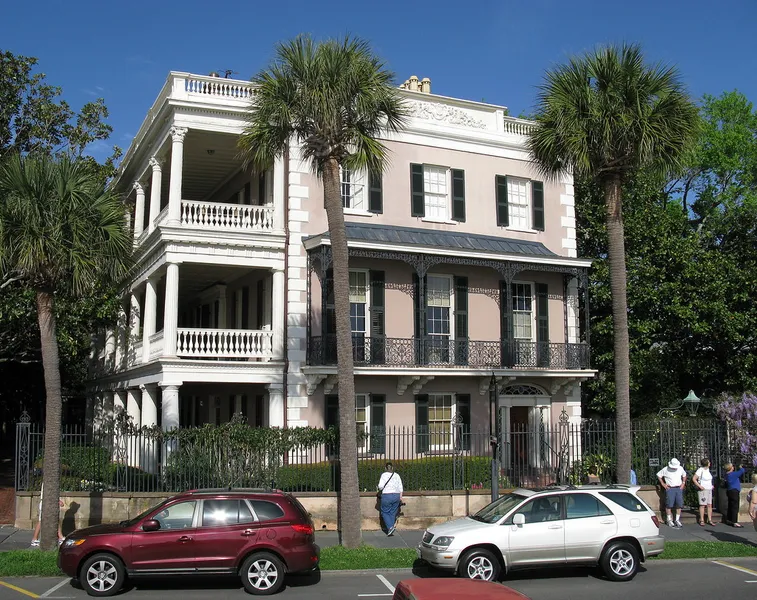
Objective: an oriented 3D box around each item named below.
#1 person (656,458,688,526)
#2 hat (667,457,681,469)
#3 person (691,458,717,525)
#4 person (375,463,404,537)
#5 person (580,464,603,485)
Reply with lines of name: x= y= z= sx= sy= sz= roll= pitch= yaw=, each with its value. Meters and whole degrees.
person: x=8.848 y=5.822 z=26.518 sx=0.567 sy=1.982 sz=0.677 roll=7 pitch=-13 yaw=-33
hat: x=8.937 y=4.953 z=26.724 sx=0.293 sy=0.166 sz=0.402 roll=-2 pitch=-6 yaw=3
person: x=9.966 y=5.896 z=27.028 sx=0.516 sy=2.042 sz=1.388 roll=-4 pitch=-12 yaw=19
person: x=0.312 y=5.730 z=25.214 sx=0.697 sy=2.024 sz=1.129 roll=0 pitch=-12 yaw=0
person: x=6.810 y=5.549 z=28.073 sx=0.545 sy=0.612 sz=1.350 roll=-4 pitch=-14 yaw=14
